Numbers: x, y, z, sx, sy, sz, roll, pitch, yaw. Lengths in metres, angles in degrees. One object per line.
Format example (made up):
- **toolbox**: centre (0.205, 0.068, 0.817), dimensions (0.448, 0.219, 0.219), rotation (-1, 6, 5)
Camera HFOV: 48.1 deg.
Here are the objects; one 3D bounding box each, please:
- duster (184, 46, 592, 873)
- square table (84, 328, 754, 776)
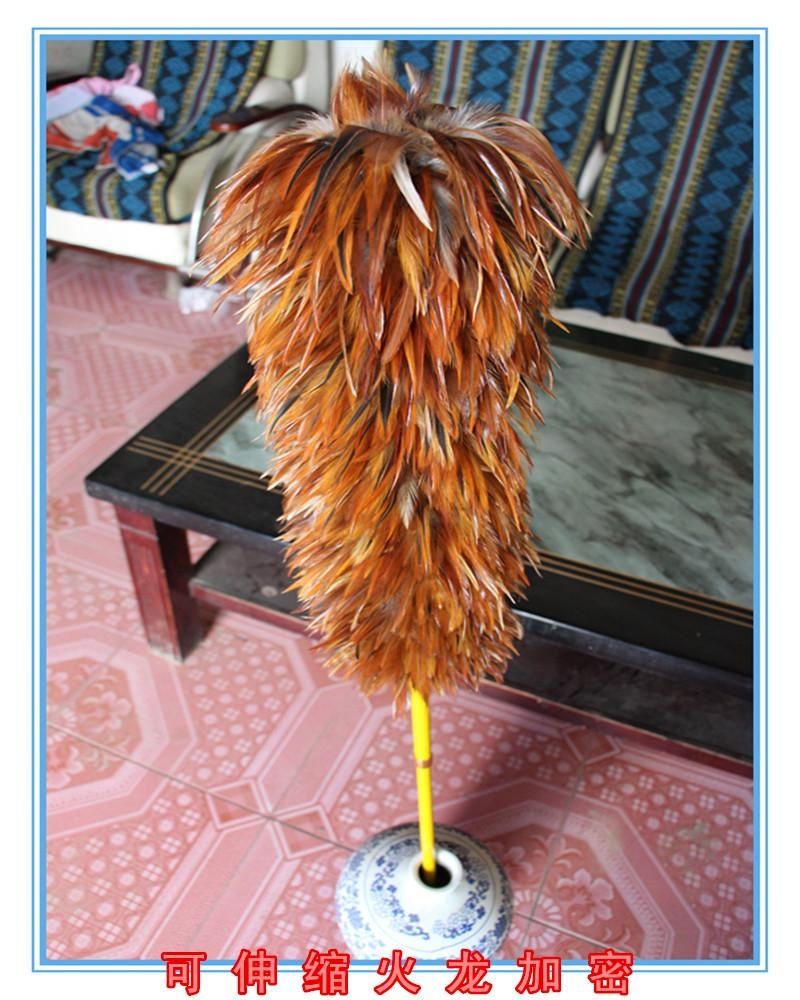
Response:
- **duster**: centre (-0.030, 0.103, 0.929), dimensions (0.313, 0.996, 0.234), rotation (9, 31, 8)
- **square table**: centre (0.211, 0.095, 1.617), dimensions (1.194, 0.401, 0.767), rotation (17, 36, 20)
